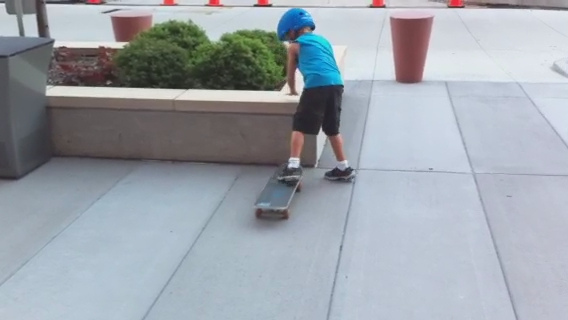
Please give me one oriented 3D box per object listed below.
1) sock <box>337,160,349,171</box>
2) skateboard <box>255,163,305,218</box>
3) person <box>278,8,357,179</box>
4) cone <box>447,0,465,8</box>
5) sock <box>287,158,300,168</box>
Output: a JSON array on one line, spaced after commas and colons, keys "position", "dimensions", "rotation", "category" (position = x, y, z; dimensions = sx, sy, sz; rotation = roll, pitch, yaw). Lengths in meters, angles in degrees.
[{"position": [0.917, 0.083, 6.802], "dimensions": [0.169, 0.151, 0.139], "rotation": [10, 19, 38], "category": "sock"}, {"position": [-0.067, 0.568, 6.544], "dimensions": [0.505, 0.301, 1.175], "rotation": [0, 22, 14], "category": "skateboard"}, {"position": [0.557, -0.958, 6.563], "dimensions": [1.167, 2.527, 1.058], "rotation": [-4, 24, -6], "category": "person"}, {"position": [7.225, -6.512, 17.831], "dimensions": [0.616, 0.229, 0.582], "rotation": [6, 24, 16], "category": "cone"}, {"position": [0.142, 0.053, 6.456], "dimensions": [0.154, 0.146, 0.122], "rotation": [3, 7, 29], "category": "sock"}]
